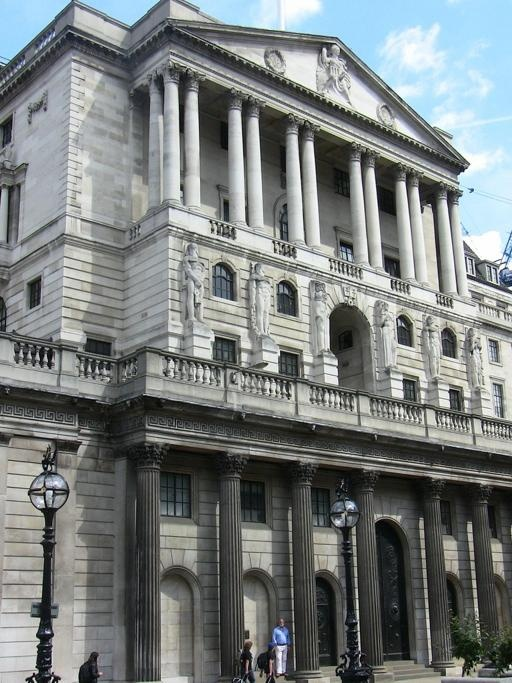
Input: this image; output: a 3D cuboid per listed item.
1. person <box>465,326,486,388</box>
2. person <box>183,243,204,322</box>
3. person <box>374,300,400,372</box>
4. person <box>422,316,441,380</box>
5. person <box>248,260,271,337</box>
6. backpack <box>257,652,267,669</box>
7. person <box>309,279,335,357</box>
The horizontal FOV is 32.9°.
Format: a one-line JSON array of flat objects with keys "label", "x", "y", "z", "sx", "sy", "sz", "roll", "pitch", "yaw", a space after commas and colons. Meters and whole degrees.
[{"label": "person", "x": 12.163, "y": 0.929, "z": 48.394, "sx": 0.682, "sy": 3.600, "sz": 1.334, "roll": -22, "pitch": -29, "yaw": 39}, {"label": "person", "x": -2.584, "y": -2.446, "z": 35.193, "sx": 0.848, "sy": 3.774, "sz": 0.573, "roll": 2, "pitch": -23, "yaw": -11}, {"label": "person", "x": 6.467, "y": -0.286, "z": 42.888, "sx": 1.282, "sy": 3.603, "sz": 0.728, "roll": 14, "pitch": -28, "yaw": -36}, {"label": "person", "x": 9.279, "y": 0.336, "z": 45.804, "sx": 1.098, "sy": 3.717, "sz": 0.457, "roll": 12, "pitch": -27, "yaw": -32}, {"label": "person", "x": 0.140, "y": -1.821, "z": 37.822, "sx": 0.924, "sy": 3.520, "sz": 0.459, "roll": 2, "pitch": -23, "yaw": -12}, {"label": "backpack", "x": 0.225, "y": 10.399, "z": 28.083, "sx": 0.317, "sy": 0.635, "sz": 0.618, "roll": 1, "pitch": -22, "yaw": -9}, {"label": "person", "x": 2.899, "y": -1.101, "z": 39.997, "sx": 0.852, "sy": 3.684, "sz": 0.445, "roll": 3, "pitch": -23, "yaw": -14}]
